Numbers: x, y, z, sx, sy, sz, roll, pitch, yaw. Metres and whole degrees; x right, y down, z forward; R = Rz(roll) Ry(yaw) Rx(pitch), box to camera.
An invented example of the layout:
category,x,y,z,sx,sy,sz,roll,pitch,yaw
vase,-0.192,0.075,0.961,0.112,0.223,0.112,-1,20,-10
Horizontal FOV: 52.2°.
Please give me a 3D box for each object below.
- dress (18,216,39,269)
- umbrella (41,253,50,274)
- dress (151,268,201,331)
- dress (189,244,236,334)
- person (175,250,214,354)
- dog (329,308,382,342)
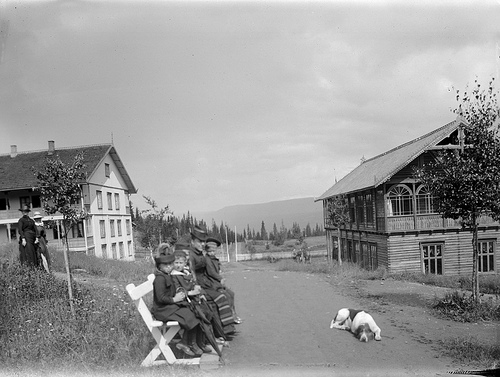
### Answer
category,x,y,z,sx,sy,sz,roll,pitch,yaw
dress,-8.197,1.857,18.817,0.629,2.415,0.506,-11,13,-43
umbrella,-7.736,2.809,19.182,0.287,0.606,1.173,-1,4,-23
dress,-1.938,2.635,12.915,1.161,2.052,0.985,-3,-2,9
dress,-1.007,2.611,14.023,1.358,2.898,0.962,5,18,24
person,-1.551,2.755,13.266,0.990,3.014,0.863,-5,11,-39
dog,2.985,3.806,14.302,0.733,0.453,1.062,1,-2,-25
